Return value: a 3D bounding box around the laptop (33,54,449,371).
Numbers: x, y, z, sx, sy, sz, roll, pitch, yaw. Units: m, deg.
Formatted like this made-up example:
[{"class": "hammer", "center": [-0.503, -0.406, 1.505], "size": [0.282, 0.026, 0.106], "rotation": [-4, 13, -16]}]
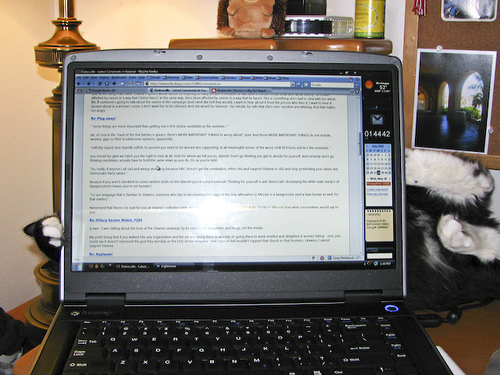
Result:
[{"class": "laptop", "center": [-0.021, 0.080, 0.969], "size": [0.704, 0.502, 0.597], "rotation": [1, 16, -1]}]
